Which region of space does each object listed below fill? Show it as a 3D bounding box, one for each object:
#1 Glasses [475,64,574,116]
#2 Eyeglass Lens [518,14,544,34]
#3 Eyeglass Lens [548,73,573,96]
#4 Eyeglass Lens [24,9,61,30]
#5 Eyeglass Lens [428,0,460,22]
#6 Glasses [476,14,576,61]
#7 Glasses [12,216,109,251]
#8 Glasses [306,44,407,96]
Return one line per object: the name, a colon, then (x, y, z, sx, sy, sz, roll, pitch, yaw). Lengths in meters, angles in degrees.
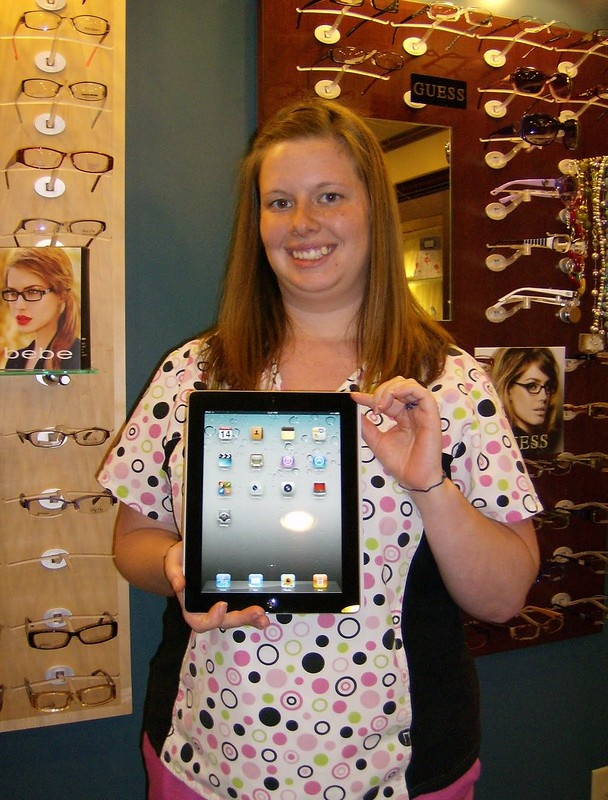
Glasses: (0.577, -0.797, 1.776, 0.208, 0.055, 0.194, -3, 14, -24)
Eyeglass Lens: (0.563, -0.937, 1.720, 0.060, 0.042, 0.068, 11, 38, 29)
Eyeglass Lens: (0.635, -0.786, 1.721, 0.059, 0.025, 0.053, -1, 67, 8)
Eyeglass Lens: (-0.526, -0.761, 1.383, 0.077, 0.037, 0.017, -17, 34, -11)
Eyeglass Lens: (0.331, -0.921, 1.642, 0.067, 0.016, 0.063, 13, -7, -44)
Glasses: (0.540, -0.910, 1.726, 0.184, 0.048, 0.164, -1, -13, -28)
Glasses: (-0.502, -0.346, 1.428, 0.108, 0.101, 0.029, 2, 64, -29)
Glasses: (0.111, -0.759, 1.574, 0.170, 0.156, 0.046, 5, 49, -31)
